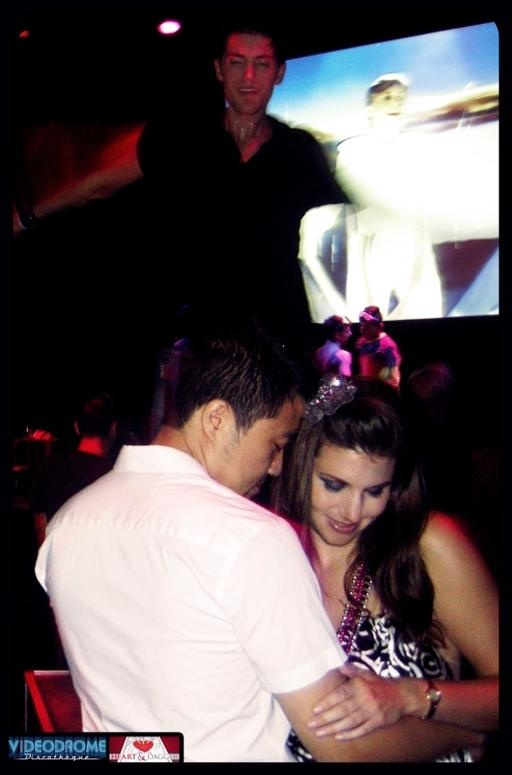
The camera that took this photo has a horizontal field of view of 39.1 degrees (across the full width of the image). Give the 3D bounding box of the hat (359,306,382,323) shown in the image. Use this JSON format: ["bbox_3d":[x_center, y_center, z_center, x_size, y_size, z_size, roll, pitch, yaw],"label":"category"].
[{"bbox_3d":[0.421,-0.265,2.627,0.054,0.071,0.078,8,17,25],"label":"hat"}]

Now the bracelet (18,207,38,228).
[{"bbox_3d":[-0.828,-0.612,2.607,0.061,0.061,0.115,-3,7,-18],"label":"bracelet"}]

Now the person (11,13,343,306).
[{"bbox_3d":[-0.251,-0.889,2.709,1.134,1.238,0.335,2,4,-8],"label":"person"}]

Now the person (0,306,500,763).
[{"bbox_3d":[-0.083,0.350,1.347,0.736,0.930,0.358,0,7,7],"label":"person"}]
